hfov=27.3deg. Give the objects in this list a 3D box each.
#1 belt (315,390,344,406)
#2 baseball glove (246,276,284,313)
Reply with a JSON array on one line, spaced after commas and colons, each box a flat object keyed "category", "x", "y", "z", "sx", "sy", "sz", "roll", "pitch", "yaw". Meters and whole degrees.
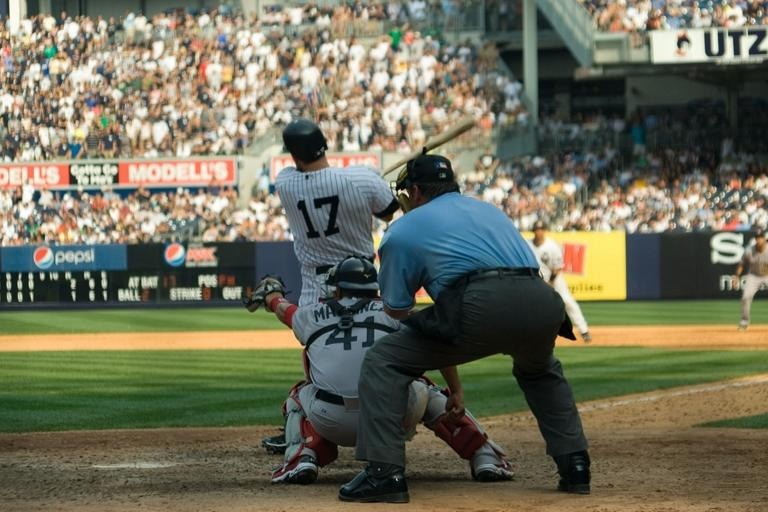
[{"category": "belt", "x": -0.817, "y": 2.148, "z": 24.020, "sx": 0.330, "sy": 0.157, "sz": 0.246, "roll": 18, "pitch": 2, "yaw": -24}, {"category": "baseball glove", "x": -1.862, "y": 0.556, "z": 24.578, "sx": 0.664, "sy": 0.336, "sz": 0.404, "roll": -41, "pitch": 13, "yaw": -14}]
